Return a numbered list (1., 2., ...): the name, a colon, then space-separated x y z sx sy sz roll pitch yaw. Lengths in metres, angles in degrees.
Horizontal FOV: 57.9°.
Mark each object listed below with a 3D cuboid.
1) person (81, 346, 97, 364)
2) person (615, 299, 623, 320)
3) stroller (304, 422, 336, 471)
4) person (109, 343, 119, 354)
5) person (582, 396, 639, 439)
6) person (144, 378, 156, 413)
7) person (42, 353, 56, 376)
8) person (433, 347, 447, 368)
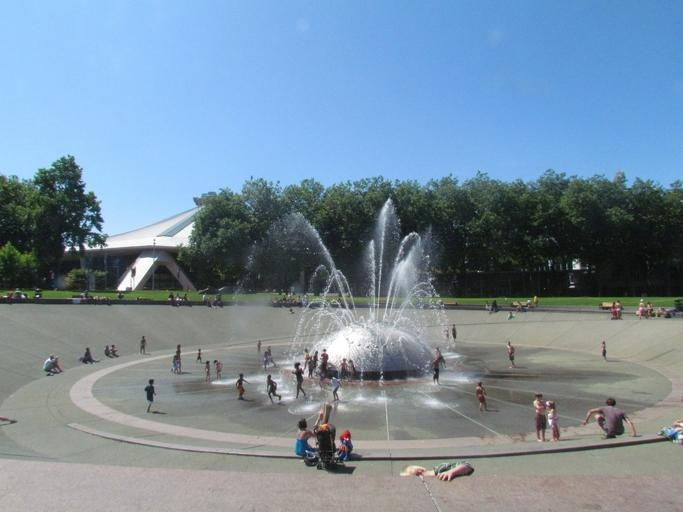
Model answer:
1. person: -15.468 6.057 37.320 0.831 1.120 1.070 1 3 30
2. person: 19.591 3.843 43.527 0.517 1.097 2.024 3 9 23
3. stroller: -0.615 6.468 20.943 0.923 1.568 1.503 2 -4 1
4. person: -15.073 6.064 40.283 0.321 1.037 0.430 -18 7 -4
5. person: 9.999 5.998 22.791 1.731 1.563 0.915 -1 -23 30
6. person: -8.705 6.066 27.610 0.355 1.385 2.225 -3 9 -18
7. person: -16.034 5.937 33.643 0.836 1.308 0.921 -6 4 -26
8. person: 5.191 5.464 32.752 0.640 0.932 2.094 -1 4 7
